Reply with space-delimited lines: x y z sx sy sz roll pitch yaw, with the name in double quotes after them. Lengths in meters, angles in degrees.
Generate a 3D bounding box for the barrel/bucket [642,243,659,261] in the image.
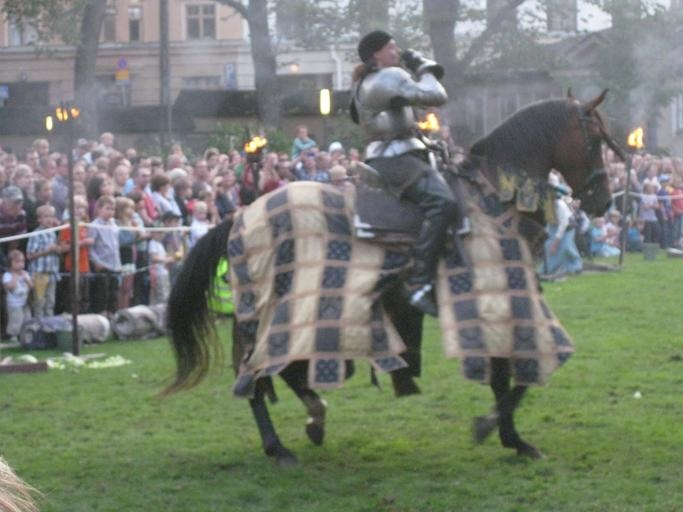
5.263 -0.071 23.378 0.341 0.216 0.300 1 -5 -1 "barrel/bucket"

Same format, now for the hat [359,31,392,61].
0.370 -2.296 15.129 0.362 0.206 0.329 -32 12 8 "hat"
